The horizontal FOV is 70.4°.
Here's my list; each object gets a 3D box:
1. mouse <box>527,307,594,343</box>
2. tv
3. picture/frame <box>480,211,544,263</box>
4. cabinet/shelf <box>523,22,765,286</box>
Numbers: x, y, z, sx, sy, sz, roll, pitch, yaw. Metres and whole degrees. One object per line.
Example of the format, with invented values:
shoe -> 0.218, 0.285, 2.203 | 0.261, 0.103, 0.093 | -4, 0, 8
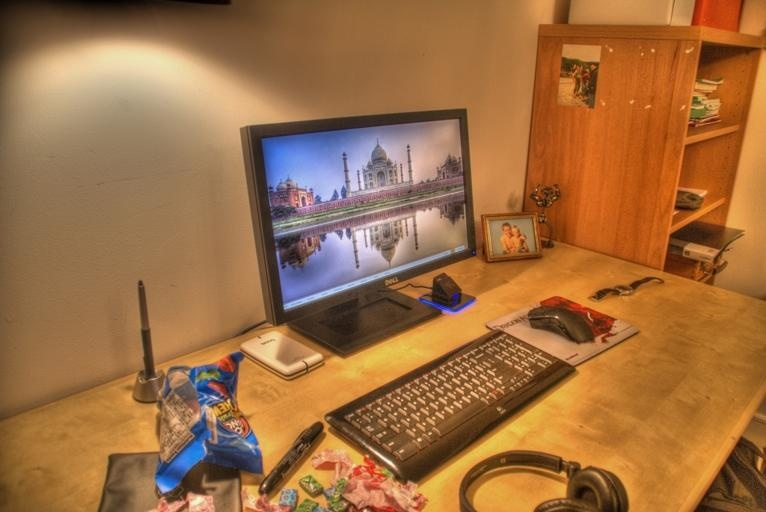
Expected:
mouse -> 0.524, 0.193, 1.588 | 0.103, 0.046, 0.146 | -20, 29, -41
tv -> -0.095, -0.065, 1.550 | 0.648, 0.489, 0.230 | -19, 27, -40
picture/frame -> 0.476, -0.067, 2.026 | 0.202, 0.139, 0.020 | -4, -11, -15
cabinet/shelf -> 0.959, -0.406, 2.049 | 0.593, 1.123, 0.597 | 18, 32, 33
